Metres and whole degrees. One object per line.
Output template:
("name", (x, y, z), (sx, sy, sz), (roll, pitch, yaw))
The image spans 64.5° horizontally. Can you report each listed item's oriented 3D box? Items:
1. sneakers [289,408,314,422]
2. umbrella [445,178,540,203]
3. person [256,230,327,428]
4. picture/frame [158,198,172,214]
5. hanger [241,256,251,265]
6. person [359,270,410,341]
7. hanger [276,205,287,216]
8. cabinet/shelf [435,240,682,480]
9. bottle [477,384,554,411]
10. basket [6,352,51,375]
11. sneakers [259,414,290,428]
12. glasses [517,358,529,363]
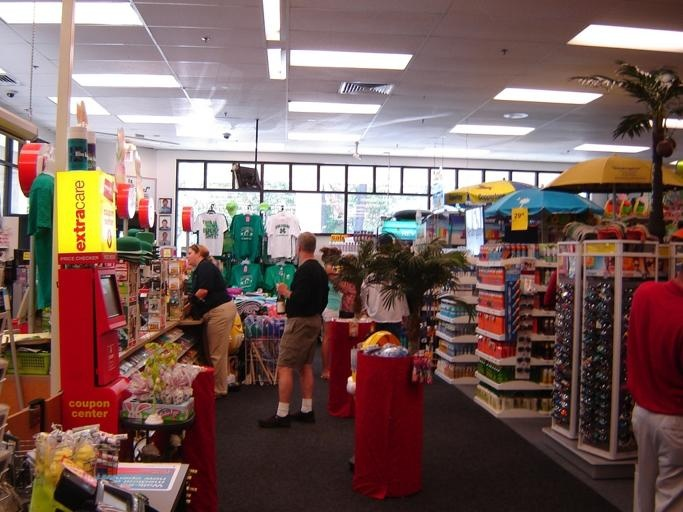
("sneakers", (-0.439, 1.848, 6.235), (0.295, 0.133, 0.117), (2, -2, 15))
("umbrella", (2.703, -1.225, 10.023), (1.134, 0.427, 1.187), (-2, -3, -4))
("person", (-0.481, 0.819, 6.012), (0.674, 2.159, 0.336), (0, 4, -11))
("picture/frame", (-4.083, -1.170, 12.601), (0.386, 0.519, 0.066), (0, -7, -6))
("hanger", (-2.054, 0.083, 11.677), (0.160, 0.144, 0.241), (2, 0, -11))
("person", (0.597, 0.758, 7.387), (0.690, 0.821, 0.696), (0, 4, -6))
("hanger", (-1.324, -1.025, 12.137), (0.190, 0.281, 0.610), (0, -3, -4))
("cabinet/shelf", (2.153, 1.049, 5.374), (0.680, 1.404, 2.068), (1, -1, -10))
("bottle", (2.141, 1.765, 6.687), (0.485, 0.205, 0.377), (1, -1, -7))
("basket", (-2.547, 0.867, 4.447), (0.255, 0.140, 0.198), (0, -1, -4))
("sneakers", (-0.745, 1.842, 6.081), (0.352, 0.161, 0.136), (2, -6, -1))
("glasses", (2.192, 1.263, 6.573), (0.082, 0.028, 0.090), (1, -2, 0))
